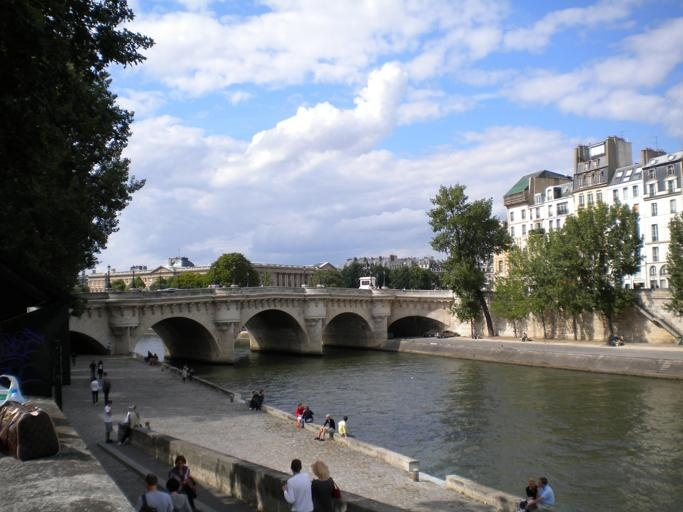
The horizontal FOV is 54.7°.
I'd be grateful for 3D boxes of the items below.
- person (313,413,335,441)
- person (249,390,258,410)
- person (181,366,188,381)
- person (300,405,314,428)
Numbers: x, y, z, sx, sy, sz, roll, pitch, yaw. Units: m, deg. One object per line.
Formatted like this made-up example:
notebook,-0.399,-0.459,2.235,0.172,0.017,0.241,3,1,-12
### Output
person,-0.774,9.023,34.911,1.030,1.208,1.155,2,2,-1
person,-5.412,9.044,41.140,0.225,0.859,0.933,-8,2,-7
person,-11.507,8.680,48.802,0.467,0.978,1.493,1,2,-8
person,-1.915,9.076,37.653,0.872,1.314,0.852,0,-5,32
